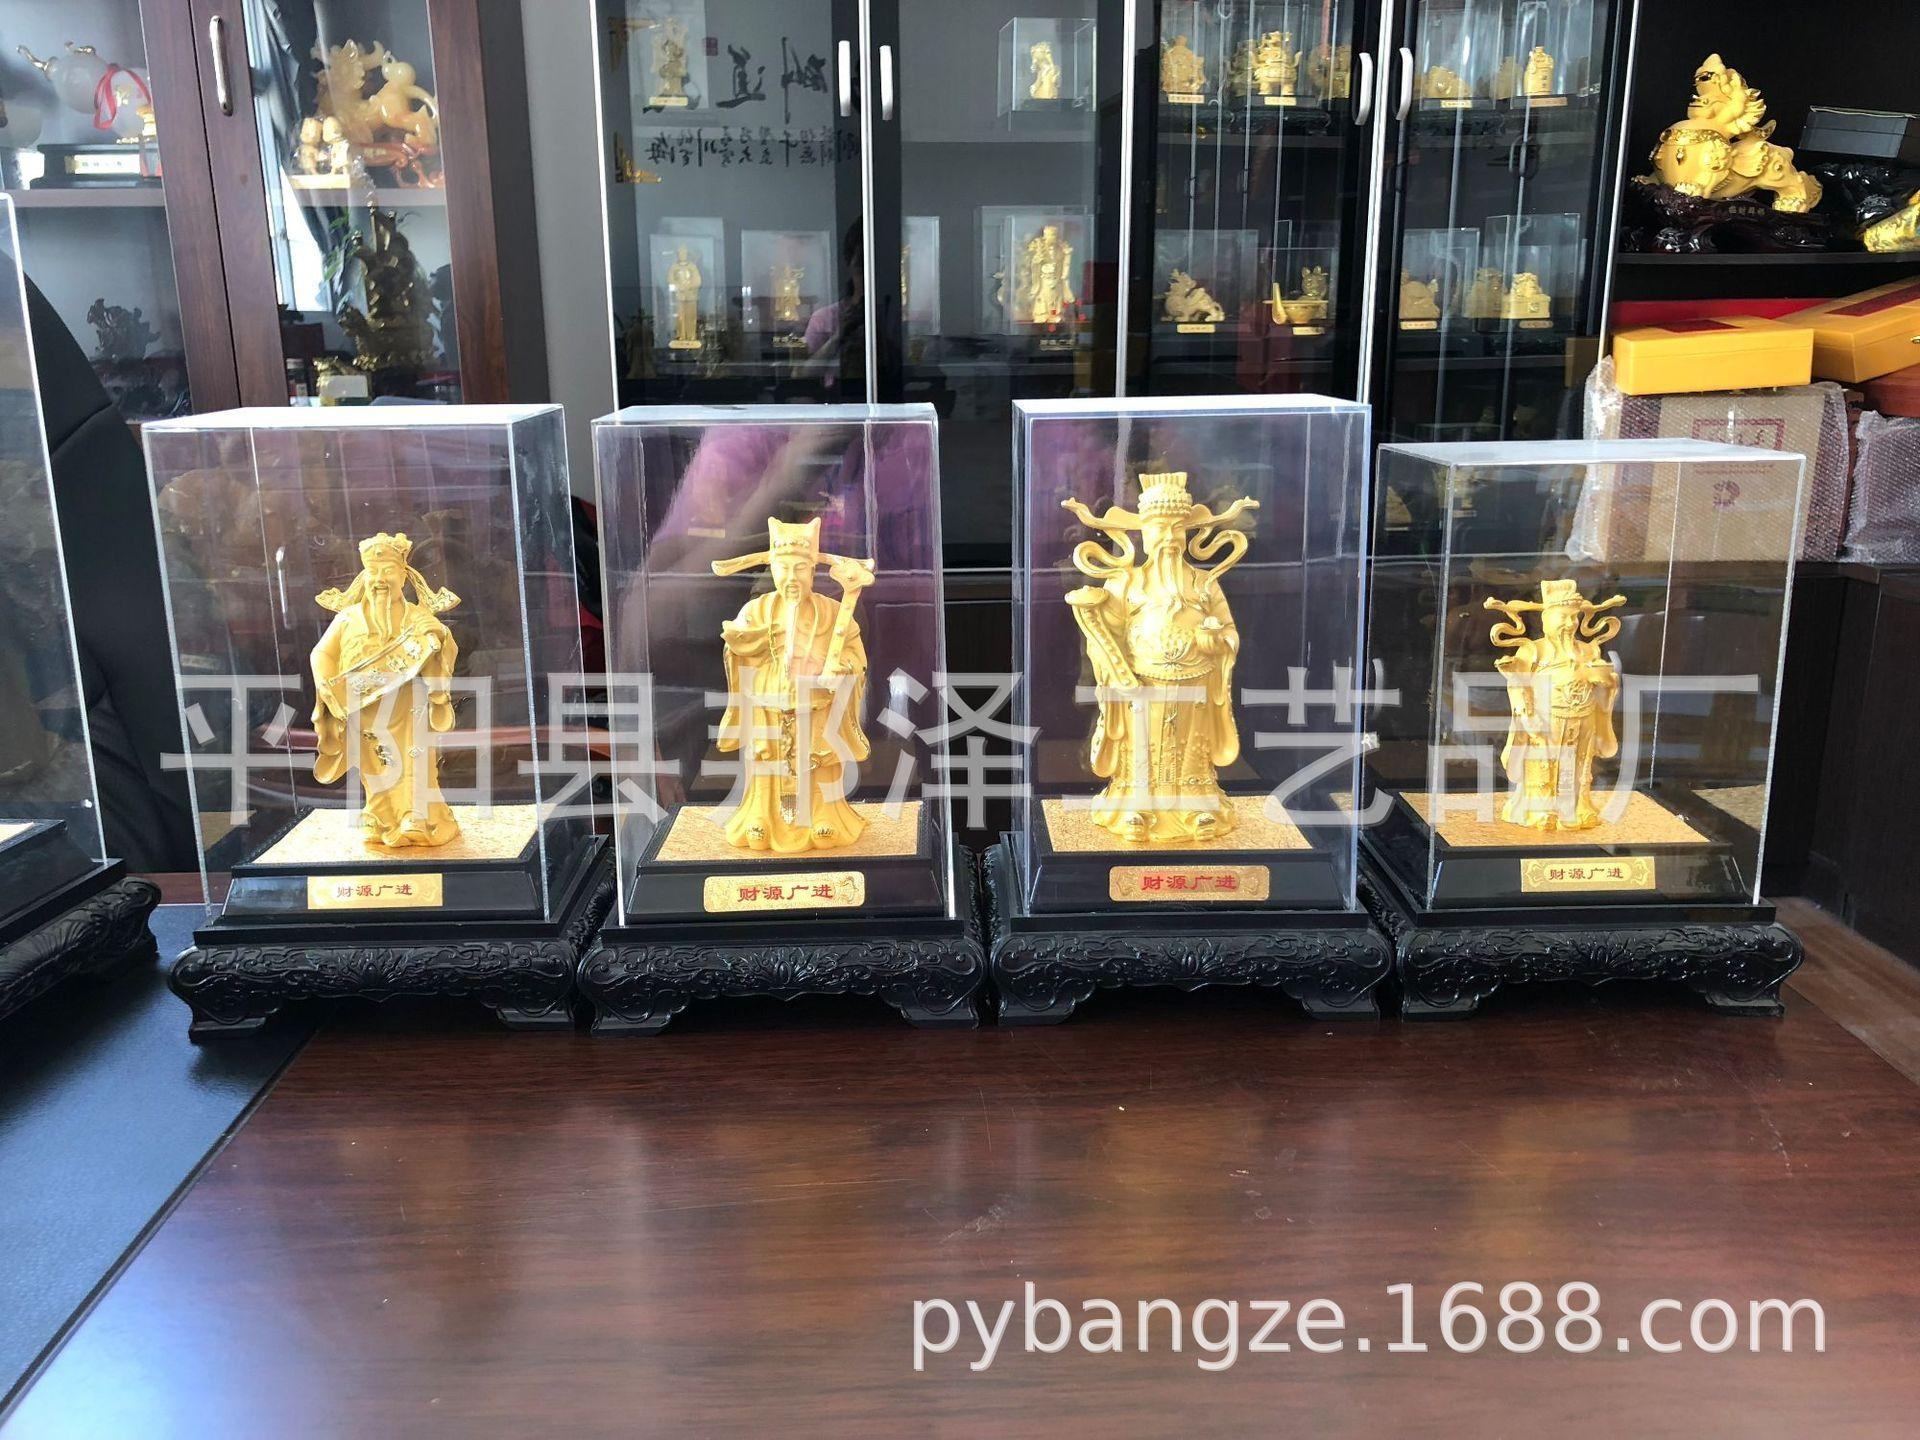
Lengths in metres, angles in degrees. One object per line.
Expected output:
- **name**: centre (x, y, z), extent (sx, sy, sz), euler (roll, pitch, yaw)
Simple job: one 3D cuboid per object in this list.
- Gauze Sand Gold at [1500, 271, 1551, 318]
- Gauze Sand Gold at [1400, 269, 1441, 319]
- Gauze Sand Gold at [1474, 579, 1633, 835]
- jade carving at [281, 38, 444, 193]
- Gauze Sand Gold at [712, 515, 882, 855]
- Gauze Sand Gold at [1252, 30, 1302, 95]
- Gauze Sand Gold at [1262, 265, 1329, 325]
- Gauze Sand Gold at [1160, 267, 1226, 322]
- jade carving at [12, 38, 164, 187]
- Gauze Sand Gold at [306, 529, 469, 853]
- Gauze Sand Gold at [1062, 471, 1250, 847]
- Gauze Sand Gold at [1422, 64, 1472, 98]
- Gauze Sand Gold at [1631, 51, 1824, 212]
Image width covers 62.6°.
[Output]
- **Gauze Sand Gold**: centre (1.065, -0.804, 2.991), extent (0.106, 0.078, 0.092), euler (0, 13, 7)
- **Gauze Sand Gold**: centre (0.876, -0.826, 3.050), extent (0.120, 0.089, 0.058), euler (-1, 16, -1)
- **Gauze Sand Gold**: centre (0.644, -0.013, 1.704), extent (0.154, 0.270, 0.059), euler (-7, 22, -8)
- **jade carving**: centre (-1.097, -1.151, 2.970), extent (0.319, 0.237, 0.142), euler (1, 31, -3)
- **Gauze Sand Gold**: centre (-0.166, -0.033, 1.679), extent (0.188, 0.351, 0.086), euler (-7, 22, -7)
- **Gauze Sand Gold**: centre (0.587, -1.240, 2.966), extent (0.130, 0.127, 0.097), euler (0, 16, 6)
- **Gauze Sand Gold**: centre (0.656, -0.813, 3.022), extent (0.151, 0.115, 0.095), euler (0, 10, 3)
- **Gauze Sand Gold**: centre (0.451, -0.834, 3.090), extent (0.129, 0.087, 0.050), euler (-6, 10, -7)
- **jade carving**: centre (-1.615, -1.146, 2.990), extent (0.265, 0.257, 0.071), euler (1, 23, 12)
- **Gauze Sand Gold**: centre (-0.591, -0.025, 1.683), extent (0.175, 0.337, 0.065), euler (-11, 23, -17)
- **Gauze Sand Gold**: centre (0.220, -0.064, 1.699), extent (0.197, 0.392, 0.129), euler (-2, 22, 7)
- **Gauze Sand Gold**: centre (0.900, -1.194, 2.949), extent (0.069, 0.028, 0.080), euler (-5, 26, -9)
- **Gauze Sand Gold**: centre (1.406, -1.055, 2.886), extent (0.391, 0.242, 0.206), euler (-1, 19, -16)
